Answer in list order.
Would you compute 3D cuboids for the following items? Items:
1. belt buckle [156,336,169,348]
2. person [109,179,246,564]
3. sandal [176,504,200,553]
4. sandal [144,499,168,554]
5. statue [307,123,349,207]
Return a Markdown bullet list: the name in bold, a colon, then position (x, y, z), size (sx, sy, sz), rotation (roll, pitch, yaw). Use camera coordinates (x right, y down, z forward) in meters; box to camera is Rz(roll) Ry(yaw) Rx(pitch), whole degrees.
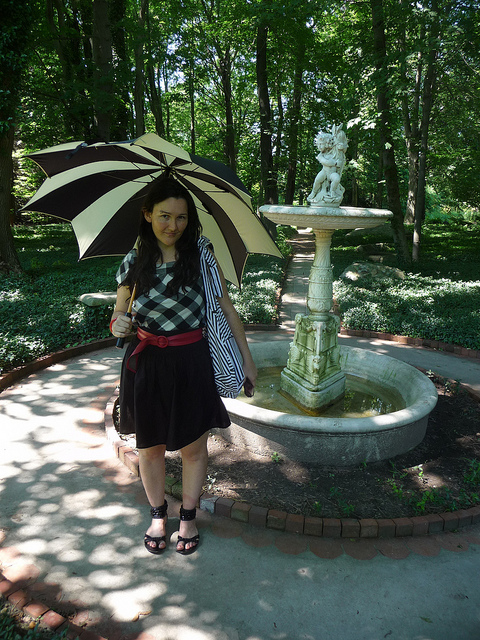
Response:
- **belt buckle**: position (-0.408, 0.112, 2.370), size (0.065, 0.063, 0.019), rotation (0, 14, -11)
- **person**: position (-0.394, 0.308, 2.753), size (0.745, 2.215, 0.836), rotation (-1, 14, -15)
- **sandal**: position (-0.318, 1.272, 2.781), size (0.137, 0.284, 0.193), rotation (2, 14, -3)
- **sandal**: position (-0.520, 1.270, 2.776), size (0.127, 0.250, 0.207), rotation (1, 14, -6)
- **statue**: position (0.820, -1.448, 4.161), size (0.405, 0.719, 0.303), rotation (-5, 22, -3)
